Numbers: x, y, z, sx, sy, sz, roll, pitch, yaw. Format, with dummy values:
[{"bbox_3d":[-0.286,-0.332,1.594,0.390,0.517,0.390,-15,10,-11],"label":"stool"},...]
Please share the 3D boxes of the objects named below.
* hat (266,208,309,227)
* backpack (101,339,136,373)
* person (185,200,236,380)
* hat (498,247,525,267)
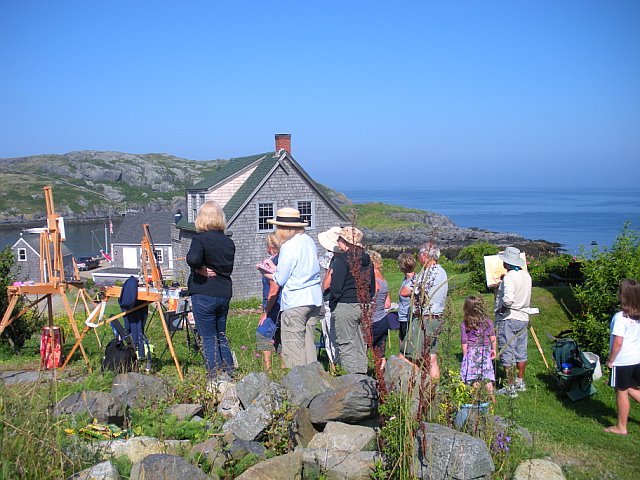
[{"bbox_3d":[-0.521,-0.329,8.139,0.375,0.171,0.413,1,1,-29],"label":"hat"},{"bbox_3d":[-3.167,1.850,8.725,0.521,0.412,0.701,-1,15,-36],"label":"backpack"},{"bbox_3d":[-1.601,0.704,8.196,0.808,2.434,0.989,0,14,-34],"label":"person"},{"bbox_3d":[3.136,0.254,8.989,0.307,0.132,0.333,11,15,-16],"label":"hat"}]
